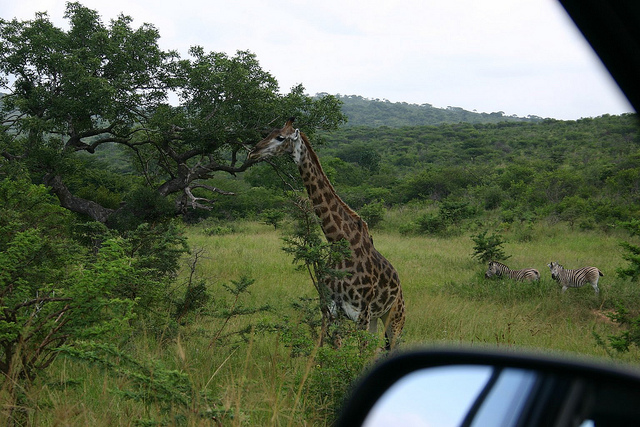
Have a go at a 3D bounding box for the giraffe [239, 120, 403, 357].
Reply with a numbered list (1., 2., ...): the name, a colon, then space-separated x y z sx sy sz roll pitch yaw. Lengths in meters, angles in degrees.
1. giraffe: 0.216 0.292 8.671 2.130 3.741 1.410 -2 -3 6

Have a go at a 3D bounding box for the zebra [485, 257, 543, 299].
1. zebra: 4.678 1.482 12.768 0.657 0.739 1.472 0 -4 -40

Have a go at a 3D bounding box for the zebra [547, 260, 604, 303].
1. zebra: 5.659 1.427 12.035 1.091 0.647 0.607 -4 -3 36
